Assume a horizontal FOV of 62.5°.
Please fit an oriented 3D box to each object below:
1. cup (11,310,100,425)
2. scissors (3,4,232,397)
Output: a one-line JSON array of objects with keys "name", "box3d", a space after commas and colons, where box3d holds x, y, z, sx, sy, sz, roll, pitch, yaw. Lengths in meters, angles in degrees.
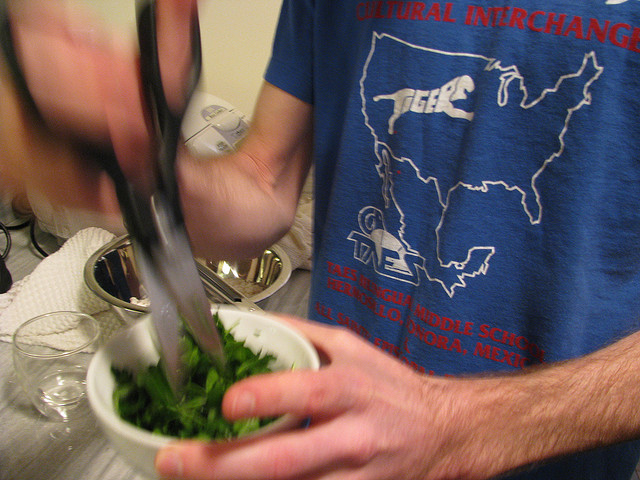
[{"name": "cup", "box3d": [-0.405, 0.201, 0.808, 0.135, 0.126, 0.117, 13, 33, 17]}, {"name": "scissors", "box3d": [-0.203, -0.041, 0.578, 0.147, 0.414, 0.064, -20, 15, -16]}]
